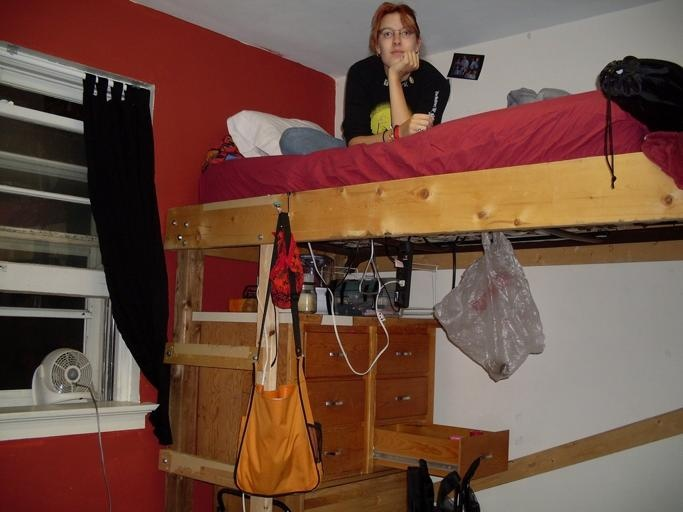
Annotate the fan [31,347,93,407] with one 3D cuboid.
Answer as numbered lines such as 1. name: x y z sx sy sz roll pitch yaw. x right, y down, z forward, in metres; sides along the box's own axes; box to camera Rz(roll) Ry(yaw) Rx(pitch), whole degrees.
1. fan: -1.451 0.661 3.349 0.253 0.337 0.260 10 -5 9

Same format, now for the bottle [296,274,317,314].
1. bottle: -0.190 0.200 3.284 0.115 0.251 0.141 3 -5 -4

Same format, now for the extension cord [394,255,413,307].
1. extension cord: 0.331 0.148 3.312 0.051 0.297 0.111 19 -18 -41

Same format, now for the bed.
1. bed: 0.448 0.304 3.181 2.163 1.727 1.267 0 2 32

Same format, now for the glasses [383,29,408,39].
1. glasses: 0.281 -1.164 3.140 0.142 0.048 0.021 -2 -2 4
